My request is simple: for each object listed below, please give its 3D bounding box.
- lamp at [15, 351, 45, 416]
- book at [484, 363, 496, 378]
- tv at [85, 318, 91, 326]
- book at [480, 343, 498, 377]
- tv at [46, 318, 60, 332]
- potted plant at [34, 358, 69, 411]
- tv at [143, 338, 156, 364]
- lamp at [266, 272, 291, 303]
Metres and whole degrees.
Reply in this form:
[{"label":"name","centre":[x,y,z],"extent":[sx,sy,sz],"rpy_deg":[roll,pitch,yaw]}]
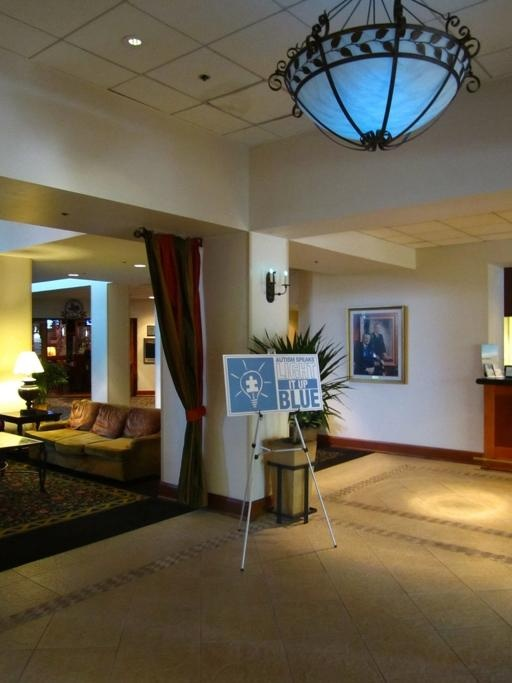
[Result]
[{"label":"lamp","centre":[-3.513,0.641,7.652],"extent":[0.442,0.943,0.443],"rpy_deg":[1,-9,-42]},{"label":"book","centre":[3.307,0.407,7.002],"extent":[0.169,0.196,0.049],"rpy_deg":[-4,-12,-17]},{"label":"tv","centre":[-5.895,-0.721,17.320],"extent":[0.247,0.288,0.139],"rpy_deg":[1,7,-7]},{"label":"book","centre":[3.341,0.267,7.090],"extent":[0.023,0.625,0.400],"rpy_deg":[-4,-6,40]},{"label":"tv","centre":[-7.152,-0.621,17.330],"extent":[0.403,0.468,0.043],"rpy_deg":[-2,5,-37]},{"label":"potted plant","centre":[-3.981,0.824,9.318],"extent":[0.558,1.109,0.657],"rpy_deg":[-5,-2,32]},{"label":"tv","centre":[-3.654,0.319,16.915],"extent":[0.409,0.939,0.164],"rpy_deg":[2,-3,-45]},{"label":"lamp","centre":[0.251,-0.560,5.077],"extent":[0.207,0.353,0.411],"rpy_deg":[-1,-2,20]}]
